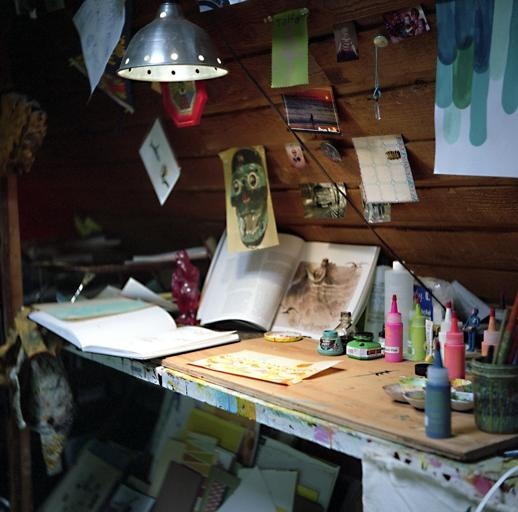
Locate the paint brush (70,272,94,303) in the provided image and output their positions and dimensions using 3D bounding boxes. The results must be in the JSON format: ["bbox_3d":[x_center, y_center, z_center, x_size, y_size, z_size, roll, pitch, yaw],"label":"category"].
[{"bbox_3d":[-0.752,0.126,1.715,0.173,0.045,0.016,-55,28,-10],"label":"paint brush"}]

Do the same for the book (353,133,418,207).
[{"bbox_3d":[0.339,-0.230,1.064,0.011,0.198,0.182,-34,25,-26],"label":"book"}]

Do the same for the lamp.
[{"bbox_3d":[-0.229,-0.519,0.999,0.261,0.175,0.320,-13,19,-12],"label":"lamp"}]
